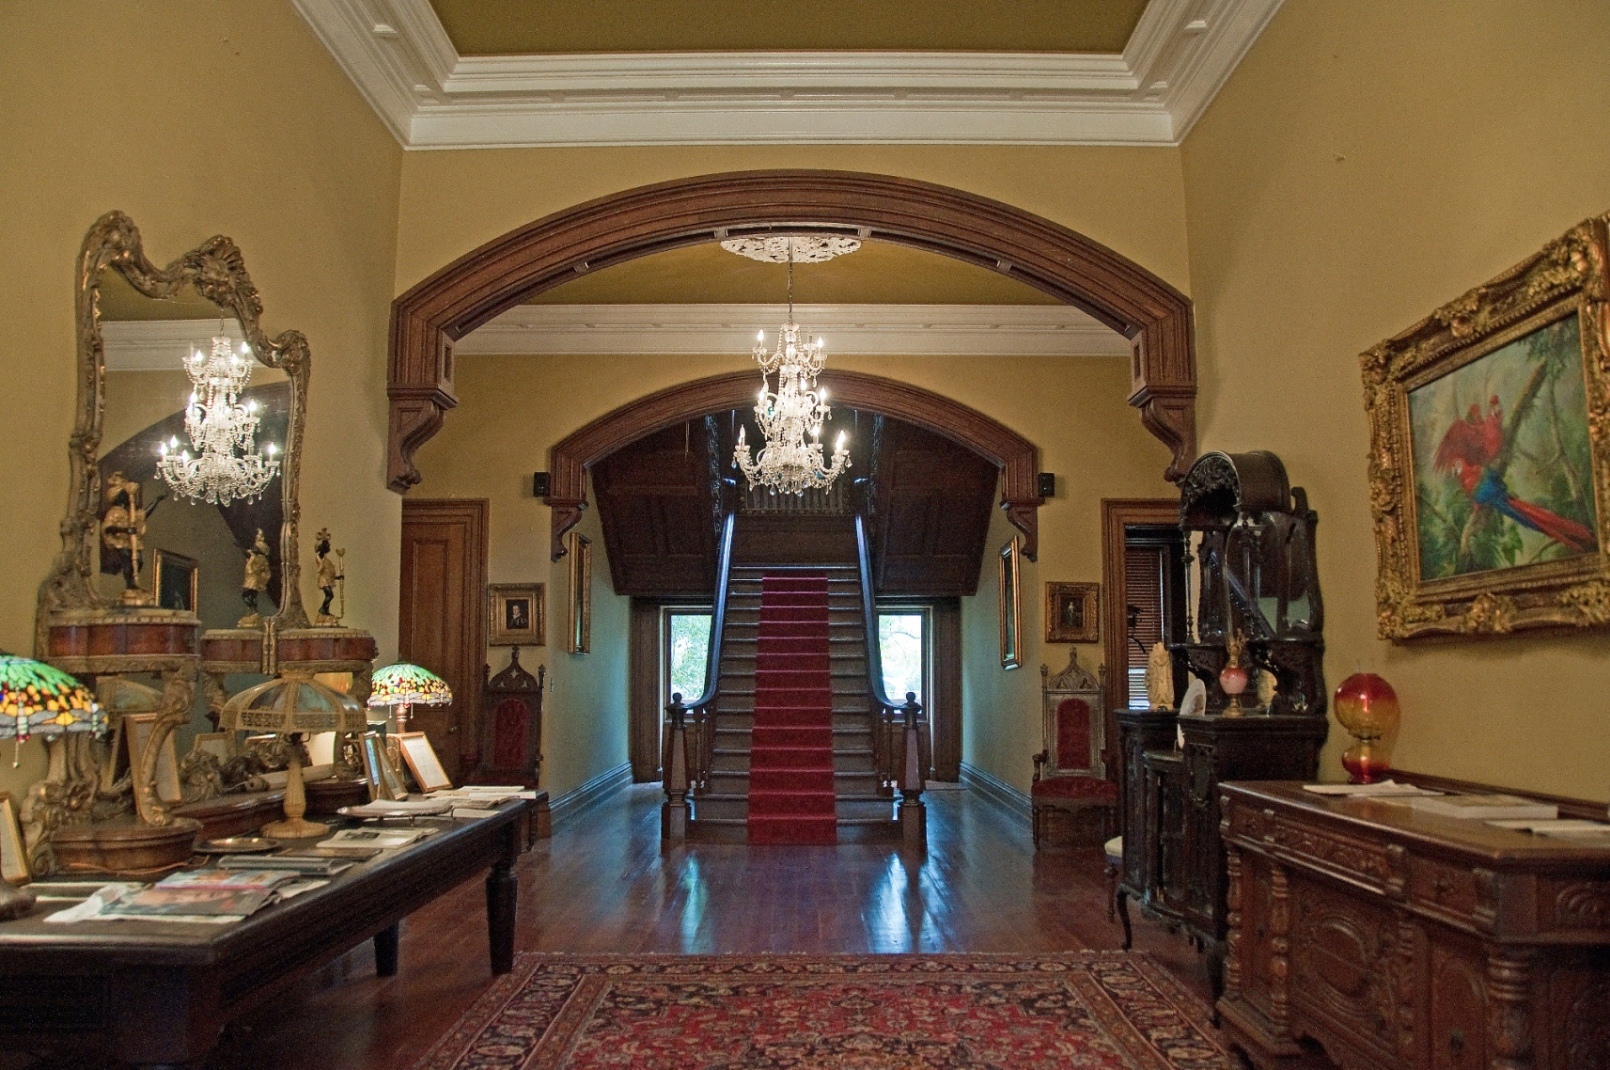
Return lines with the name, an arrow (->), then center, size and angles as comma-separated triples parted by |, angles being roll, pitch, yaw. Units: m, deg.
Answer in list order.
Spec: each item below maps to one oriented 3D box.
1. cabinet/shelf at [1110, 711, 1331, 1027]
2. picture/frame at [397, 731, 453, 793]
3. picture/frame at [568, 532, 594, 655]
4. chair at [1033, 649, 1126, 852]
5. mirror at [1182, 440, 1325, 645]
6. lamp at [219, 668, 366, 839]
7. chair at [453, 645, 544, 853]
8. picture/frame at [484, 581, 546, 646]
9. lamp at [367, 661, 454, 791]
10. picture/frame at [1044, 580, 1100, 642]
cabinet/shelf -> 2.064, 1.641, 5.421 | 0.618, 1.275, 1.537 | 2, -8, 6
picture/frame -> -2.294, 1.352, 6.506 | 0.089, 0.336, 0.368 | -22, -14, 8
picture/frame -> -2.587, 0.531, 12.495 | 0.141, 1.372, 1.364 | 1, -14, -19
chair -> 2.528, 2.040, 10.431 | 0.781, 1.829, 0.841 | -2, -6, 13
mirror -> 2.457, 0.045, 5.964 | 0.444, 1.308, 1.078 | 3, -6, -5
lamp -> -2.344, 1.009, 5.059 | 0.604, 0.704, 0.658 | 0, -5, -16
chair -> -2.802, 2.048, 10.634 | 0.824, 1.748, 0.704 | 2, -16, -5
picture/frame -> -2.846, 0.799, 10.724 | 0.601, 0.649, 0.048 | 0, -10, -6
lamp -> -2.492, 1.191, 6.801 | 0.554, 0.729, 0.542 | 2, -11, -15
picture/frame -> 2.605, 0.785, 10.809 | 0.560, 0.622, 0.073 | 1, -7, -3
